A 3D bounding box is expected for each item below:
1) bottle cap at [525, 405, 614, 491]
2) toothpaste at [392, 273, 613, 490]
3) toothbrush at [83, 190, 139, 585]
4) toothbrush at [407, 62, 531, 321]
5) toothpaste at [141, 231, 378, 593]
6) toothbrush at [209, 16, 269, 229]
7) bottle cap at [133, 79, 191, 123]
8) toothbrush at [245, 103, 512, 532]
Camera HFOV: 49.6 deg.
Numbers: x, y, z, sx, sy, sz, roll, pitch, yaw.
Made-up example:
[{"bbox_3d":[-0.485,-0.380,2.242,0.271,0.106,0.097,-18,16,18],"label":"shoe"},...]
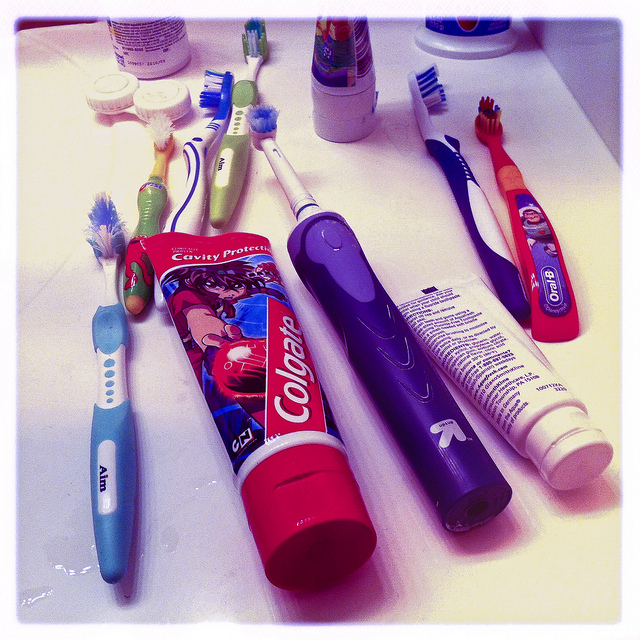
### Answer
[{"bbox_3d":[0.140,0.076,0.393,0.036,0.045,0.034,-16,46,-13],"label":"bottle cap"},{"bbox_3d":[0.112,0.032,0.443,0.065,0.047,0.173,-20,46,-13],"label":"toothpaste"},{"bbox_3d":[-0.147,0.004,0.482,0.038,0.039,0.369,-12,47,-8],"label":"toothbrush"},{"bbox_3d":[0.119,-0.125,0.583,0.036,0.031,0.300,-14,45,6],"label":"toothbrush"},{"bbox_3d":[-0.036,0.035,0.430,0.076,0.062,0.257,-13,52,-17],"label":"toothpaste"},{"bbox_3d":[-0.071,-0.153,0.623,0.061,0.201,0.072,7,35,7],"label":"toothbrush"},{"bbox_3d":[-0.155,-0.218,0.682,0.048,0.045,0.058,4,11,11],"label":"bottle cap"},{"bbox_3d":[0.019,-0.041,0.516,0.060,0.059,0.390,-4,46,-21],"label":"toothbrush"}]
